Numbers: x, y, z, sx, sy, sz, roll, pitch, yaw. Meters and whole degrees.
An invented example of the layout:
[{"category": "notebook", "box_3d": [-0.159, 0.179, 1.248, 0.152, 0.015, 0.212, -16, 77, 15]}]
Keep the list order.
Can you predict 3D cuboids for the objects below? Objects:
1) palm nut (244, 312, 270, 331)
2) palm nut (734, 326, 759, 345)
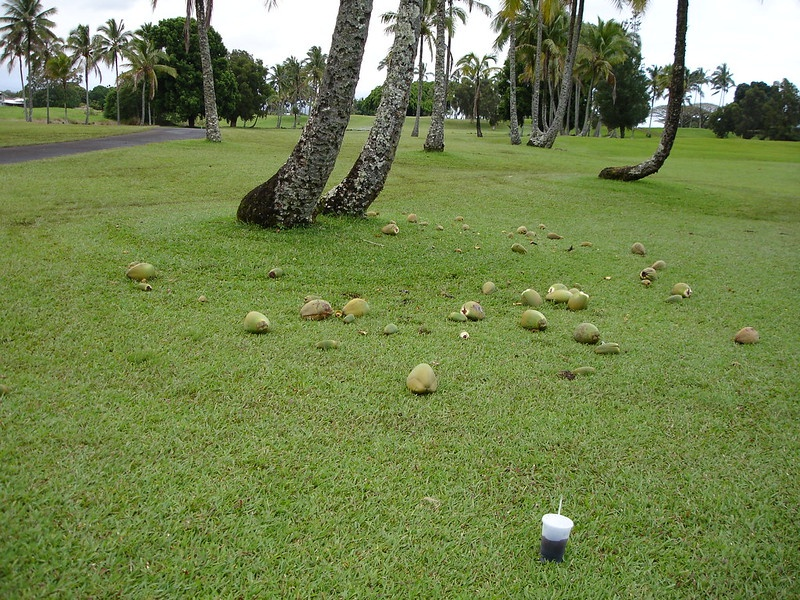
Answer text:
[{"category": "palm nut", "box_3d": [-1.091, 0.168, 4.438, 0.162, 0.133, 0.126, 13, -12, 44]}, {"category": "palm nut", "box_3d": [2.779, 0.294, 4.643, 0.153, 0.114, 0.125, -12, 12, -19]}]
